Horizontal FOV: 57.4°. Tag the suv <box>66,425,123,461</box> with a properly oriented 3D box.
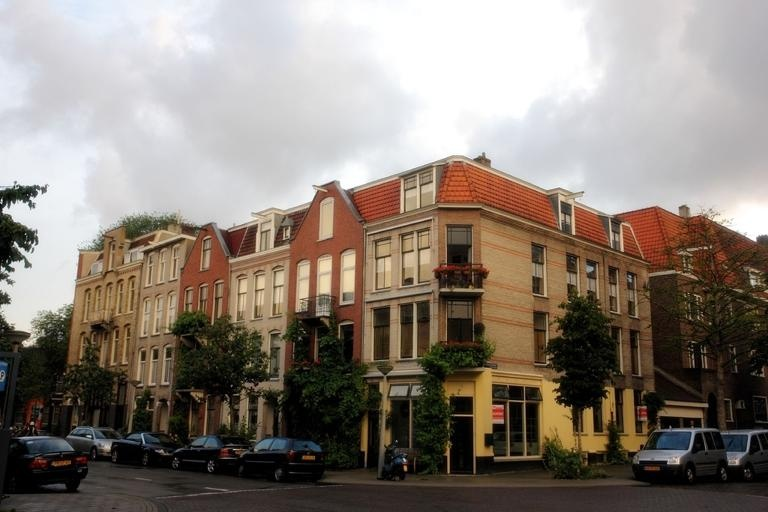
[{"bbox_3d":[-19.125,12.327,46.515,4.962,1.712,2.219,-6,-13,37],"label":"suv"}]

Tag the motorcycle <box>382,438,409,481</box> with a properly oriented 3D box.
[{"bbox_3d":[0.672,10.635,36.895,1.095,1.681,2.581,-5,-1,-17],"label":"motorcycle"}]

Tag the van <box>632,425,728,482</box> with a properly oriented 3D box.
[{"bbox_3d":[15.126,10.105,35.697,5.551,2.474,3.019,11,-16,-38],"label":"van"}]

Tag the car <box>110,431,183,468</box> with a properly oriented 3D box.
[{"bbox_3d":[-14.433,11.518,41.750,5.739,1.864,2.359,-7,-11,39],"label":"car"}]

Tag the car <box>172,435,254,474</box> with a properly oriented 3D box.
[{"bbox_3d":[-9.600,11.068,39.242,4.607,1.411,2.121,-7,-15,38],"label":"car"}]
